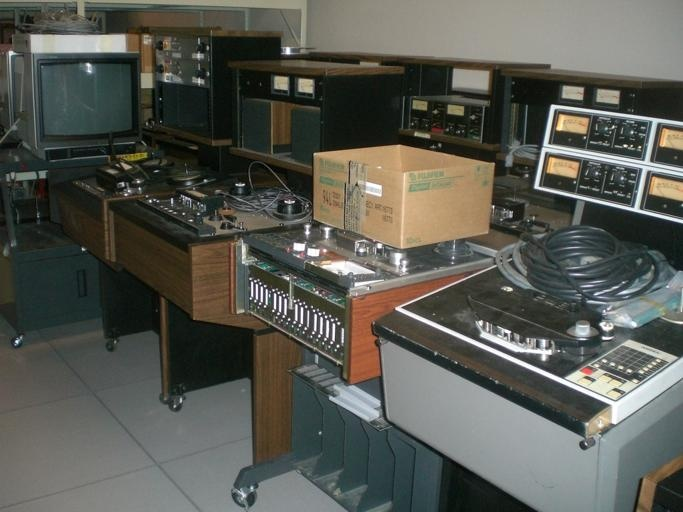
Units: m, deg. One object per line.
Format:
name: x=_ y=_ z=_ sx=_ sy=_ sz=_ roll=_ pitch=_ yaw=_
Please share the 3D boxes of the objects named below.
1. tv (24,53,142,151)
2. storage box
tv: x=-1.574 y=-0.909 z=3.556 sx=0.631 sy=0.483 sz=0.633 roll=-7 pitch=15 yaw=-36
storage box: x=0.208 y=-0.219 z=2.109 sx=0.462 sy=0.290 sz=0.468 roll=-14 pitch=26 yaw=-33
